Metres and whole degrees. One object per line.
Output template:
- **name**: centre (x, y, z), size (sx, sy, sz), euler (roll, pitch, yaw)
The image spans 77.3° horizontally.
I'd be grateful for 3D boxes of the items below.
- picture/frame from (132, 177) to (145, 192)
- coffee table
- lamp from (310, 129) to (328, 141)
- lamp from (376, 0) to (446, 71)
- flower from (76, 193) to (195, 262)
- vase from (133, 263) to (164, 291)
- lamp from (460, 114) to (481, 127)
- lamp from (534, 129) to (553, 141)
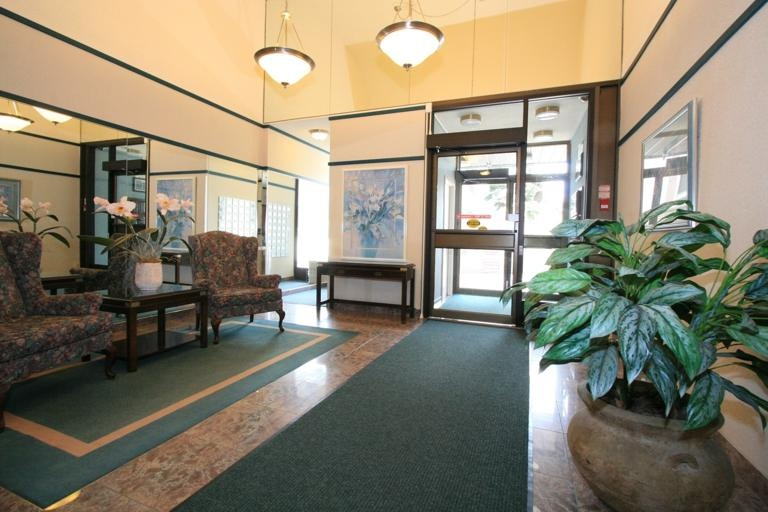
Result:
- **picture/frame**: centre (-3.095, -0.905, 6.061), size (0.021, 0.168, 0.211), euler (2, 4, 23)
- **coffee table**: centre (-2.561, 0.573, 5.208), size (0.868, 0.768, 1.135), euler (1, 3, 27)
- **lamp**: centre (-1.111, -2.103, 8.317), size (0.311, 0.118, 0.428), euler (0, 8, -8)
- **lamp**: centre (0.261, -2.274, 5.219), size (0.527, 0.386, 0.572), euler (-6, 11, -42)
- **flower**: centre (-2.809, -0.280, 5.429), size (1.045, 0.635, 1.098), euler (1, 0, 22)
- **vase**: centre (-2.503, 0.221, 5.150), size (0.296, 0.271, 0.281), euler (2, 0, -10)
- **lamp**: centre (1.286, -2.017, 7.120), size (0.305, 0.140, 0.331), euler (3, 8, 9)
- **lamp**: centre (2.632, -1.991, 7.977), size (0.311, 0.174, 0.304), euler (4, 8, 17)
